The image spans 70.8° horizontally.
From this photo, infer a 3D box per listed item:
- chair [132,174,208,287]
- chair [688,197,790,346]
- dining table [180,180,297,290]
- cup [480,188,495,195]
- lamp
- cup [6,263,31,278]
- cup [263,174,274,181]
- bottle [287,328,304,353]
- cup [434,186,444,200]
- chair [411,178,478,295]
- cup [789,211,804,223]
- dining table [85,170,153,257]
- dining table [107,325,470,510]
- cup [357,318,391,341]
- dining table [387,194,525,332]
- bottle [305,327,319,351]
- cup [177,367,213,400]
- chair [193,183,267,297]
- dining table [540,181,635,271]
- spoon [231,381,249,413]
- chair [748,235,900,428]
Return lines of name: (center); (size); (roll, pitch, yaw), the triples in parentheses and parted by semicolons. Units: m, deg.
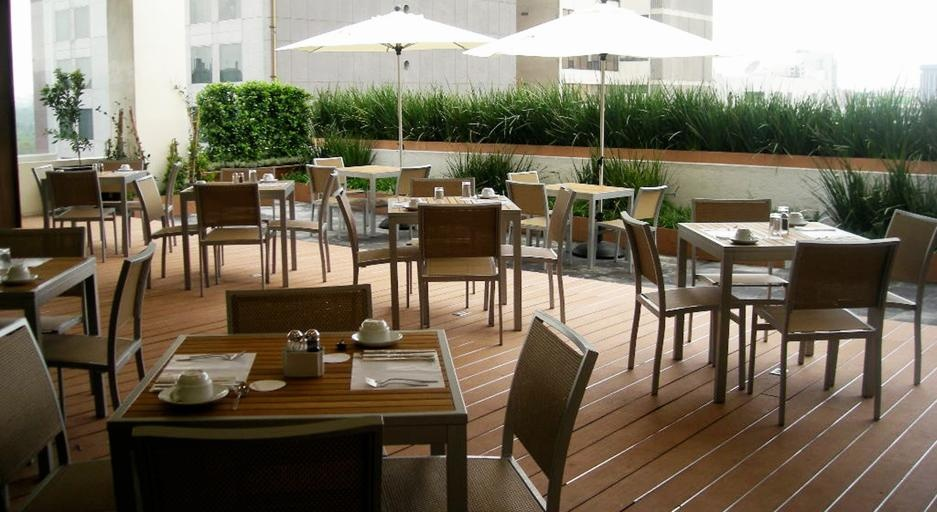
chair: (-3.610, -0.349, 8.117); (0.918, 1.185, 0.872); (-2, 12, -25)
chair: (2.684, 0.192, 6.581); (0.851, 1.388, 0.886); (-2, -35, 39)
dining table: (-2.822, -0.483, 8.183); (1.477, 1.486, 1.444); (-3, 12, -15)
cup: (0.224, -0.712, 7.446); (0.140, 0.084, 0.134); (0, 3, 0)
lamp: (-1.528, -1.066, 10.975); (1.365, 1.294, 1.377); (-5, 13, -27)
cup: (-3.226, 0.109, 4.733); (0.114, 0.100, 0.115); (-2, 0, 0)
cup: (-2.593, -1.011, 8.539); (0.112, 0.069, 0.107); (-1, -3, 0)
bottle: (-0.975, 0.491, 3.784); (0.125, 0.115, 0.120); (0, 0, -10)
cup: (-0.300, -0.690, 7.306); (0.161, 0.161, 0.154); (0, 8, 0)
chair: (-0.339, -0.336, 8.043); (1.287, 1.102, 1.240); (-1, 6, -3)
cup: (3.059, -0.361, 6.152); (0.110, 0.073, 0.100); (-11, 13, -35)
dining table: (-5.165, -0.614, 9.291); (0.875, 1.004, 1.129); (-4, 12, -25)
dining table: (-0.769, 1.197, 3.937); (1.543, 0.759, 1.034); (-1, 11, -2)
cup: (-0.570, 0.446, 4.057); (0.143, 0.087, 0.138); (1, 2, 0)
dining table: (-0.149, -0.056, 6.795); (1.193, 0.835, 1.219); (-5, -5, 40)
bottle: (-0.898, 0.482, 3.776); (0.091, 0.130, 0.089); (1, 13, 0)
cup: (-1.438, 0.679, 3.498); (0.178, 0.101, 0.130); (-3, 8, -36)
chair: (-2.788, -0.254, 7.830); (0.832, 1.286, 0.929); (-5, 13, -17)
dining table: (1.801, -0.682, 9.283); (1.584, 1.420, 1.167); (-9, 13, -40)
spoon: (-1.234, 0.746, 3.540); (0.051, 0.023, 0.171); (9, 22, -12)
chair: (2.788, 0.556, 5.215); (1.063, 1.420, 0.548); (-3, 12, -6)
